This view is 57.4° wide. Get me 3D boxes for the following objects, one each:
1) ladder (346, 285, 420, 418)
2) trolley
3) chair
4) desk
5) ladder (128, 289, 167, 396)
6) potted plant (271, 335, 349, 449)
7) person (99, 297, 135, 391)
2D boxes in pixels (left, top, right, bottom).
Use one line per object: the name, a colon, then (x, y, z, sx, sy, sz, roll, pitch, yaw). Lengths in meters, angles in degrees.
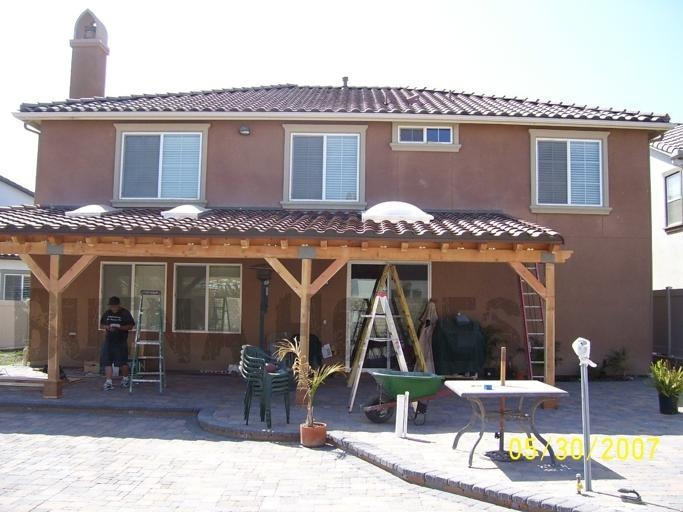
ladder: (0.781, 2.001, 13.201, 1.229, 2.654, 1.287, 4, -1, -12)
trolley: (1.217, 2.700, 11.927, 1.544, 0.850, 1.043, 0, -16, -11)
chair: (-1.482, 2.438, 11.762, 0.975, 1.404, 1.010, 5, 0, -3)
desk: (2.643, 2.766, 10.301, 1.785, 0.940, 1.573, 2, -11, -3)
ladder: (-4.951, 2.183, 16.196, 1.059, 2.889, 0.820, 3, -2, 5)
potted plant: (-0.534, 2.520, 11.681, 1.188, 1.881, 1.231, 2, 0, -36)
person: (-5.285, 1.995, 14.703, 0.774, 1.948, 0.904, 0, -3, 0)
